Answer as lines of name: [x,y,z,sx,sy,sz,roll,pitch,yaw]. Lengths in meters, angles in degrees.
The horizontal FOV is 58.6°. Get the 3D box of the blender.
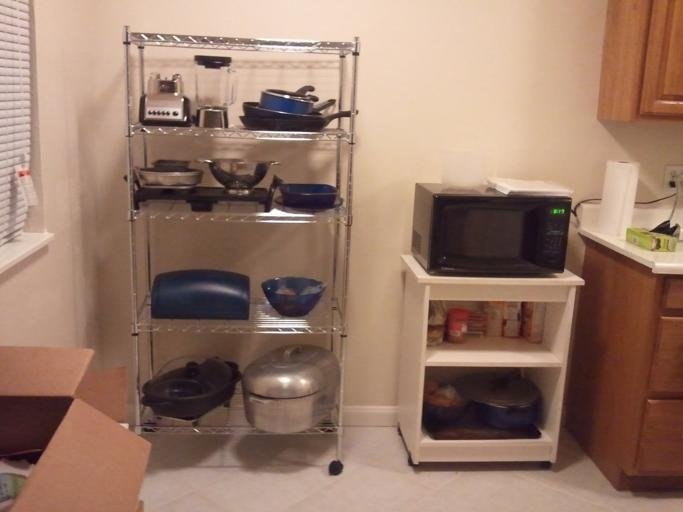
blender: [-0.639,-0.687,2.530,0.392,0.260,0.212,-1,12,-14]

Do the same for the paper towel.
paper towel: [1.235,-0.256,2.728,0.131,0.329,0.108,6,19,17]

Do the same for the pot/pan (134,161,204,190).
pot/pan: [-0.718,-0.336,2.539,0.268,0.100,0.172,-5,18,-16]

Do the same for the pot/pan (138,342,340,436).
pot/pan: [-0.394,0.569,2.590,0.622,0.219,0.434,0,12,1]

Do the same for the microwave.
microwave: [0.627,-0.099,2.507,0.580,0.329,0.395,1,12,-8]

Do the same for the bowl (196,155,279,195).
bowl: [-0.431,-0.337,2.560,0.248,0.140,0.124,-2,18,-6]

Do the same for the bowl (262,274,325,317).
bowl: [-0.208,0.185,2.719,0.264,0.140,0.260,0,17,0]

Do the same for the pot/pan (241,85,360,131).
pot/pan: [-0.200,-0.573,2.497,0.334,0.118,0.243,2,20,-6]

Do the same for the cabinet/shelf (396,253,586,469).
cabinet/shelf: [0.625,0.496,2.838,0.766,0.783,0.461,3,0,-10]
